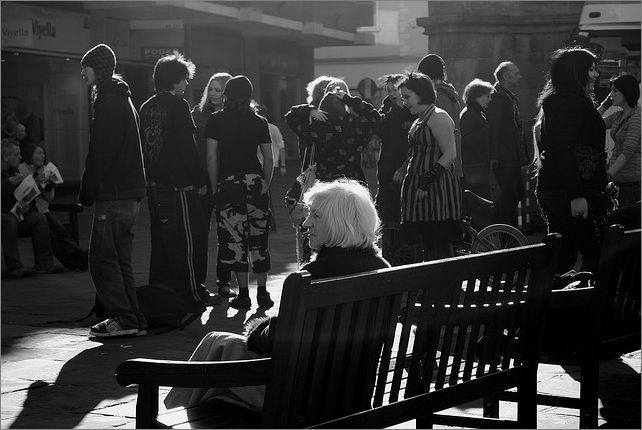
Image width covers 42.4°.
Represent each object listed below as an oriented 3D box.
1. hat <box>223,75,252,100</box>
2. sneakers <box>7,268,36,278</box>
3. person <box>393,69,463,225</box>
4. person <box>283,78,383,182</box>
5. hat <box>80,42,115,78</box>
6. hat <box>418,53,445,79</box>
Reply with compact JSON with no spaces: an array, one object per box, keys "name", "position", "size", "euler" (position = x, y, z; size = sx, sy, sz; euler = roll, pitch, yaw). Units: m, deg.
[{"name":"hat","position":[-0.914,-1.395,9.057],"size":[0.323,0.306,0.238],"euler":[15,15,26]},{"name":"sneakers","position":[-3.953,0.751,10.878],"size":[0.379,0.149,0.125],"euler":[-3,-4,11]},{"name":"person","position":[1.119,-0.684,8.519],"size":[0.649,1.565,0.334],"euler":[1,7,8]},{"name":"person","position":[0.127,-0.867,8.948],"size":[0.982,0.962,0.294],"euler":[1,7,7]},{"name":"hat","position":[-2.150,-1.456,7.789],"size":[0.283,0.310,0.357],"euler":[1,14,-26]},{"name":"hat","position":[1.344,-1.805,10.114],"size":[0.301,0.364,0.376],"euler":[4,-16,-5]}]
